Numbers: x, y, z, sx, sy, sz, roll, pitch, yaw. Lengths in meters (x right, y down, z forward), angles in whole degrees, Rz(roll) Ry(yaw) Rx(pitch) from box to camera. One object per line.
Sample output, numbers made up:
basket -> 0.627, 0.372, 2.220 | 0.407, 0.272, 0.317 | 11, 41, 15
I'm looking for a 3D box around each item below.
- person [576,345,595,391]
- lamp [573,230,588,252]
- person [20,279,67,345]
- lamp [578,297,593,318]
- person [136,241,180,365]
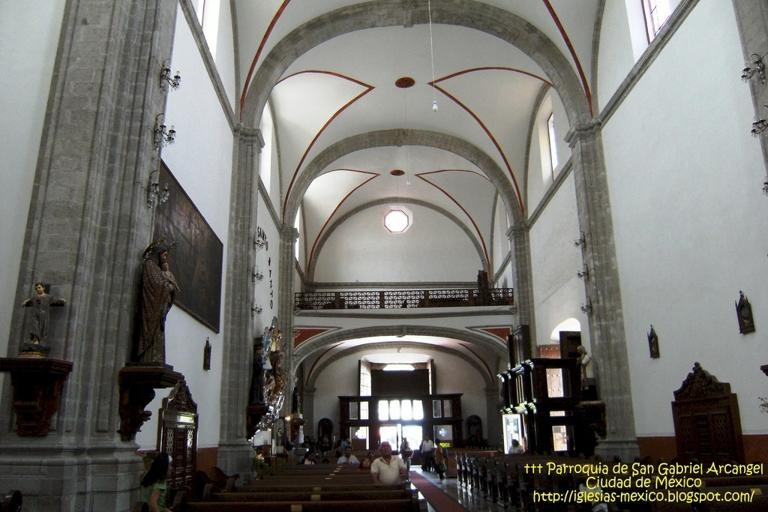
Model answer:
person -> 5.008, 2.747, 13.289 | 0.323, 1.077, 0.557 | -7, -19, 19
lamp -> 4.910, -0.395, 13.391 | 0.167, 0.459, 0.345 | 1, -13, 7
person -> -4.016, 0.670, 6.281 | 0.472, 0.803, 0.185 | -3, -18, 7
lamp -> 4.950, 1.213, 12.980 | 0.152, 0.483, 0.325 | 8, -20, -26
person -> -2.975, 0.602, 6.984 | 0.457, 1.610, 0.287 | 8, -20, -24
